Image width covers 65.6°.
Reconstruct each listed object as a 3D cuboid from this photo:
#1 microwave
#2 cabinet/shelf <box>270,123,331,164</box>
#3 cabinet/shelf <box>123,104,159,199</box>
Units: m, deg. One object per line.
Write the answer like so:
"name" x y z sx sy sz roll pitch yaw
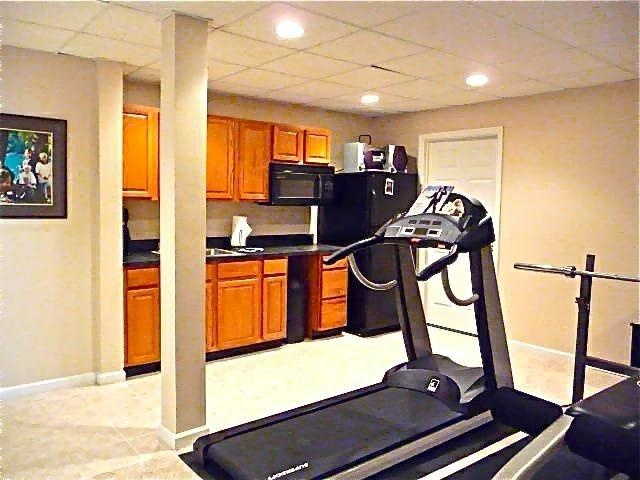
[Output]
"microwave" -0.188 -0.542 4.877 0.688 0.392 0.429 -2 5 -40
"cabinet/shelf" -0.186 -0.929 4.870 0.718 0.322 0.366 -4 7 -43
"cabinet/shelf" -1.415 -0.685 3.925 0.309 0.718 0.113 -4 14 -34
